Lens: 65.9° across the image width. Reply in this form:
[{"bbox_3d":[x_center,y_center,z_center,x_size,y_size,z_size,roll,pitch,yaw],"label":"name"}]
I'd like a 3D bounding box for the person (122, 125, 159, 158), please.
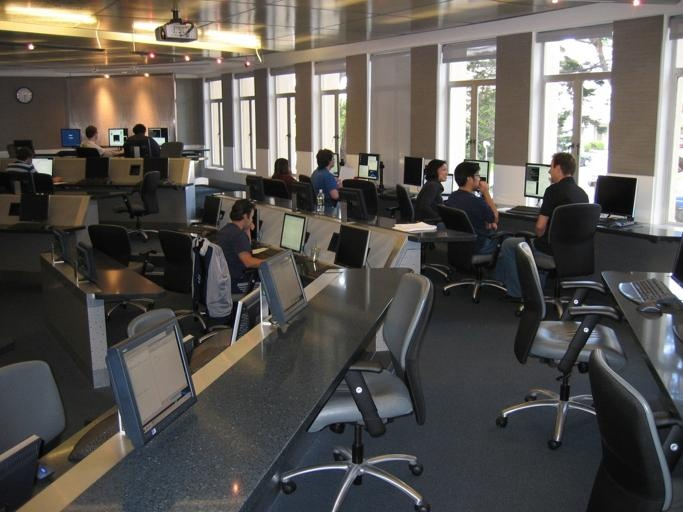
[{"bbox_3d":[-4.240,-2.342,11.091,0.795,0.828,0.405,3,14,-3],"label":"person"}]

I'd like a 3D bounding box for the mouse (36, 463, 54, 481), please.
[{"bbox_3d":[-1.156,0.856,2.056,0.061,0.018,0.066,-7,23,-38],"label":"mouse"}]

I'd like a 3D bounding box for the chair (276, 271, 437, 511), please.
[{"bbox_3d":[0.202,0.676,3.492,1.129,1.725,1.244,1,7,0],"label":"chair"}]

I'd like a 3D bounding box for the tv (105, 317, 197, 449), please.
[{"bbox_3d":[-0.688,0.469,1.983,0.107,0.392,0.388,3,14,20],"label":"tv"}]

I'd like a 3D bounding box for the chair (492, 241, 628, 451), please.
[{"bbox_3d":[1.400,0.524,3.979,1.164,1.648,1.186,-1,6,16],"label":"chair"}]

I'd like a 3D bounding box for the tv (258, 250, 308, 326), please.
[{"bbox_3d":[-0.345,0.214,3.117,0.143,0.382,0.412,-17,0,13],"label":"tv"}]
